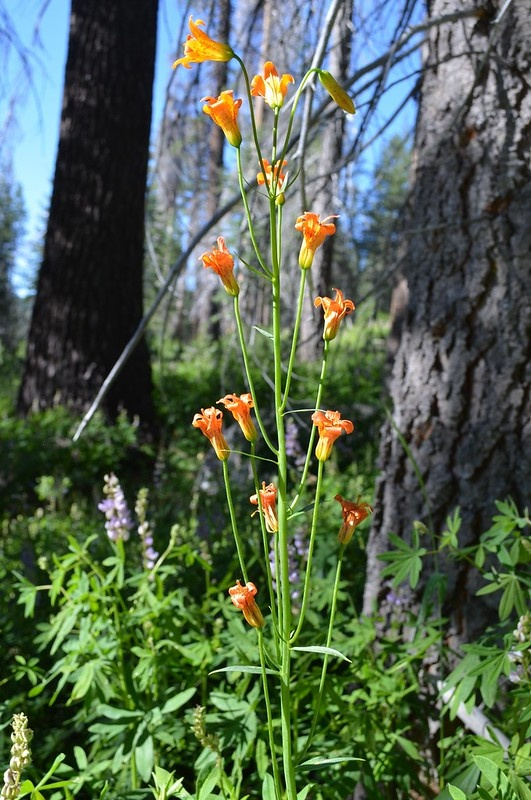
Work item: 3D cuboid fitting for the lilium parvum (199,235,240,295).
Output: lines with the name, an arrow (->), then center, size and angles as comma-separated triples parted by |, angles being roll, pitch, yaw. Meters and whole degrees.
lilium parvum -> -0.106, -0.324, 2.096 | 0.083, 0.162, 0.083 | -33, 19, -31

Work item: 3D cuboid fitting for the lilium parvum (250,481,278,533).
lilium parvum -> -0.001, 0.276, 2.090 | 0.058, 0.133, 0.065 | 7, 26, 35

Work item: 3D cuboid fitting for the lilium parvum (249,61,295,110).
lilium parvum -> 0.014, -0.768, 2.069 | 0.077, 0.131, 0.121 | 0, 13, -15

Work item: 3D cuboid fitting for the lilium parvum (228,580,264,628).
lilium parvum -> -0.045, 0.500, 2.073 | 0.087, 0.122, 0.212 | 9, 1, 1

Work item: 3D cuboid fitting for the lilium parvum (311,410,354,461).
lilium parvum -> 0.150, 0.101, 2.042 | 0.092, 0.123, 0.101 | 15, -7, -1

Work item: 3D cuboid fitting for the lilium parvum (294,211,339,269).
lilium parvum -> 0.116, -0.401, 2.083 | 0.092, 0.151, 0.100 | 9, -13, 28

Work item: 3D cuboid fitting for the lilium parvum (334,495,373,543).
lilium parvum -> 0.211, 0.317, 2.119 | 0.099, 0.125, 0.109 | 19, -1, 20
